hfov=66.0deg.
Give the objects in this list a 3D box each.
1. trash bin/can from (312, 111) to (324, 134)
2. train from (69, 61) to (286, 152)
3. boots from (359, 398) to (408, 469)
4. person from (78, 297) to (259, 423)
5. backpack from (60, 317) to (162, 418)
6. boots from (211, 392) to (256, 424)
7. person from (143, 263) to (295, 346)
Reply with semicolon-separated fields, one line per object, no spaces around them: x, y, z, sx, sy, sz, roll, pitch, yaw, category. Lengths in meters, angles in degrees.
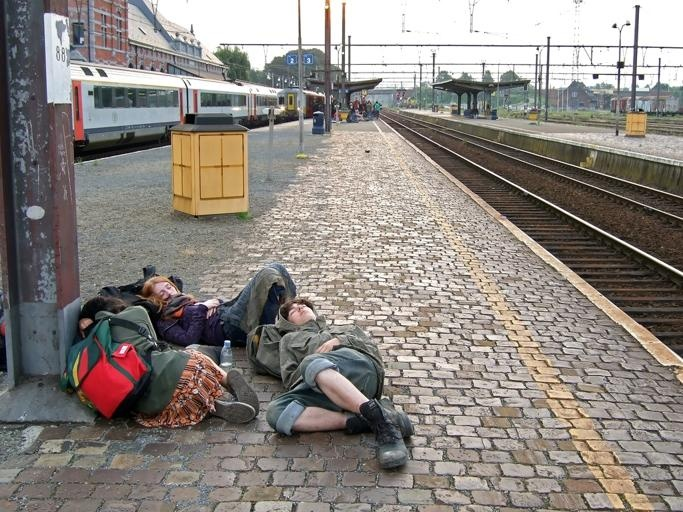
-1.803;-10.617;41.243;0.966;1.659;0.774;-2;15;-10;trash bin/can
-10.715;-9.394;31.533;3.073;3.608;23.747;14;18;7;train
0.260;1.121;3.258;0.302;0.302;0.413;2;14;2;boots
-1.305;0.814;3.836;1.443;0.471;0.723;24;15;10;person
-1.707;0.765;3.854;0.749;0.660;0.424;8;2;38;backpack
-0.771;1.110;3.708;0.401;0.122;0.151;11;1;8;boots
-1.172;0.500;5.094;1.586;0.594;0.813;-9;10;4;person
